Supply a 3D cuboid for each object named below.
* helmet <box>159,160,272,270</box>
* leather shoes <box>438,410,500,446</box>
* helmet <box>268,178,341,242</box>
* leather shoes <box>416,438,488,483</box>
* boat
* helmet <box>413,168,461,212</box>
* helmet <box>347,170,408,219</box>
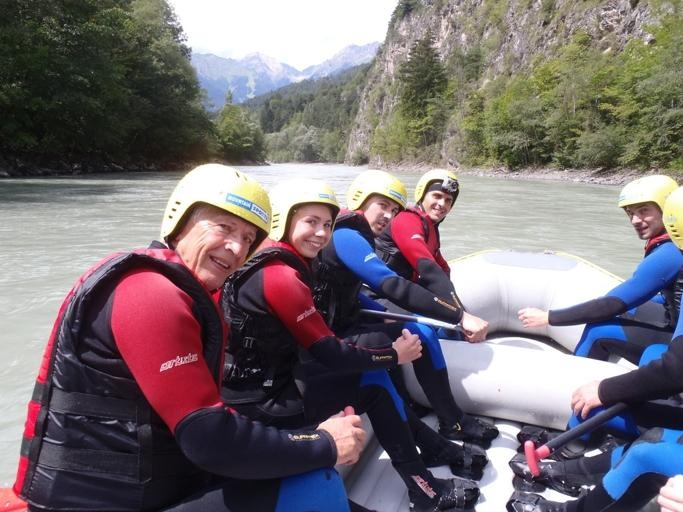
[{"bbox_3d":[-0.613,-0.237,2.344,0.375,0.283,0.297,16,-2,27],"label":"helmet"},{"bbox_3d":[0.841,1.134,3.487,0.375,0.180,0.190,2,21,-7],"label":"leather shoes"},{"bbox_3d":[-0.236,-0.236,3.053,0.489,0.357,0.377,-6,-13,27],"label":"helmet"},{"bbox_3d":[0.697,1.258,3.240,0.373,0.135,0.237,6,34,13],"label":"leather shoes"},{"bbox_3d":[1.398,0.683,4.126,1.422,0.672,2.270,1,32,12],"label":"boat"},{"bbox_3d":[0.819,-0.612,4.539,0.340,0.353,0.396,15,8,-10],"label":"helmet"},{"bbox_3d":[0.249,-0.454,3.878,0.400,0.300,0.302,36,6,30],"label":"helmet"}]
